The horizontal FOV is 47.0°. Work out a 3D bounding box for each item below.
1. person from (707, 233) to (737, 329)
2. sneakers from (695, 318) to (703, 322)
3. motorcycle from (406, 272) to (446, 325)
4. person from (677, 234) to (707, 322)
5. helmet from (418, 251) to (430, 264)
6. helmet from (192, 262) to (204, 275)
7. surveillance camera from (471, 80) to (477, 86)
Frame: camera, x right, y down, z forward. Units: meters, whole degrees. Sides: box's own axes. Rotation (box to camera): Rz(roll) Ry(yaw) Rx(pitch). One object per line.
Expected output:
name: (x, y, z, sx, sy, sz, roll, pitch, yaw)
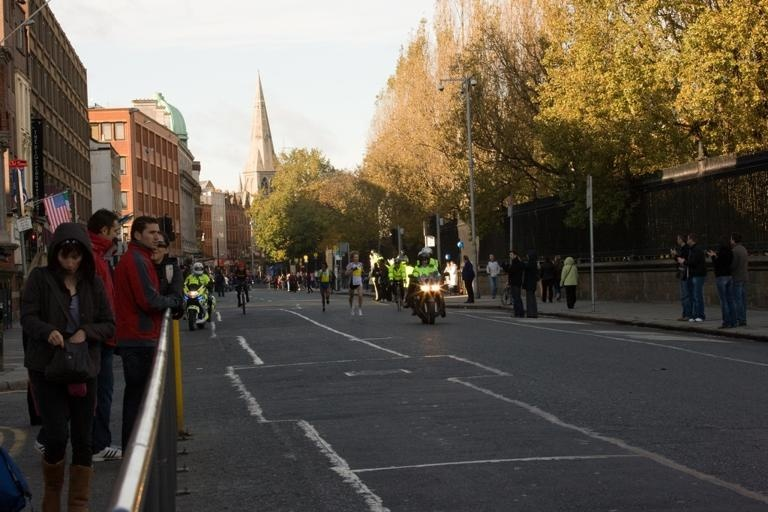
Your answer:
person: (8.227, 0.660, 21.434, 0.509, 2.053, 1.090, -2, -3, 21)
sneakers: (8.127, 1.649, 22.831, 0.209, 0.102, 0.080, 8, 0, 12)
motorcycle: (1.235, 1.253, 25.485, 0.914, 1.394, 0.905, -2, -3, 4)
person: (8.124, 0.552, 23.203, 0.627, 2.275, 1.065, -1, -3, 1)
helmet: (1.166, 0.013, 25.716, 0.237, 0.228, 0.410, -2, 17, 1)
helmet: (-5.848, 0.390, 27.759, 0.288, 0.427, 0.402, 0, -9, -6)
surveillance camera: (4.133, -8.043, 40.830, 0.226, 0.226, 0.230, -7, 9, -18)
